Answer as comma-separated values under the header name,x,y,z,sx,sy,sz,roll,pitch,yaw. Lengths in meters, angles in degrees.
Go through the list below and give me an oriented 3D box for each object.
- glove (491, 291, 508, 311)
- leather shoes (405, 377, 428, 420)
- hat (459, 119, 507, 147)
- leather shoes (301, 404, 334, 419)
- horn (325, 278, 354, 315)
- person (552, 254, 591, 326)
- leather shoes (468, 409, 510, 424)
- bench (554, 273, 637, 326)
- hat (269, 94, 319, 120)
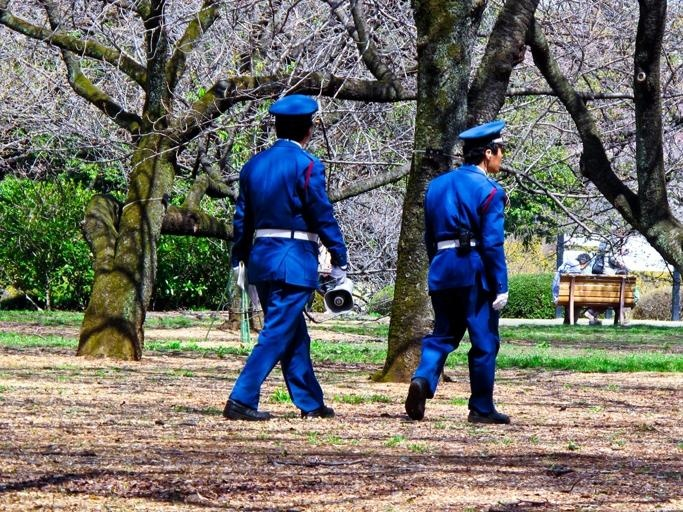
name,x,y,z,sx,sy,sz,roll,pitch,yaw
glove,1.729,0.484,14.374,0.157,0.188,0.366,1,-2,7
leather shoes,0.818,1.530,14.148,0.183,0.466,0.220,6,19,13
hat,1.559,-1.338,14.411,0.352,0.141,0.302,-5,11,-24
leather shoes,-0.244,1.663,14.260,0.363,0.170,0.133,-2,5,-27
horn,-0.075,0.557,21.425,0.441,0.419,1.232,0,13,-4
person,5.366,0.782,30.548,0.635,1.071,1.691,1,2,32
leather shoes,1.594,1.723,14.321,0.476,0.196,0.163,-1,-2,2
bench,5.700,0.922,29.641,1.693,1.140,0.969,1,2,0
hat,-0.522,-1.649,14.621,0.679,0.255,0.782,0,9,8
